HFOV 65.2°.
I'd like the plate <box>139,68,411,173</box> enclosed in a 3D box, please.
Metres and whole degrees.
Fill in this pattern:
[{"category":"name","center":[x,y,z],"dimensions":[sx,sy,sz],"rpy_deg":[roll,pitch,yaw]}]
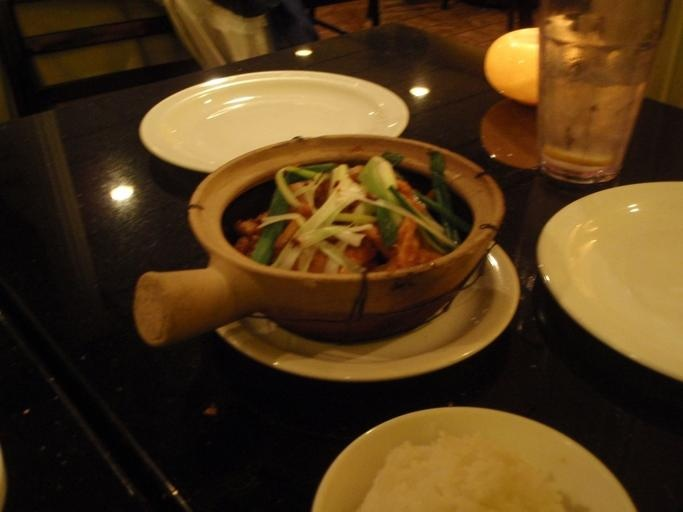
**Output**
[{"category":"plate","center":[-0.168,-0.310,1.172],"dimensions":[0.356,0.048,0.365],"rpy_deg":[-17,43,-18]}]
